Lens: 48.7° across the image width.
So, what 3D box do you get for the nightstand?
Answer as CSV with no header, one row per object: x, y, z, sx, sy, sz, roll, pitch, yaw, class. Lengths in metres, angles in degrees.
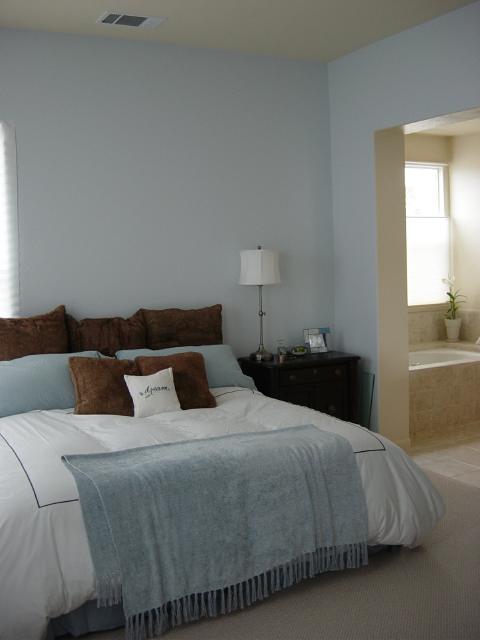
0.510,0.609,4.052,0.713,0.703,0.444,-4,7,-11,nightstand

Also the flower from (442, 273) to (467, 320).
2.245,-0.231,5.526,0.222,0.420,0.339,2,6,11,flower

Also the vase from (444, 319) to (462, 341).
2.173,0.093,5.407,0.203,0.266,0.209,2,3,9,vase
